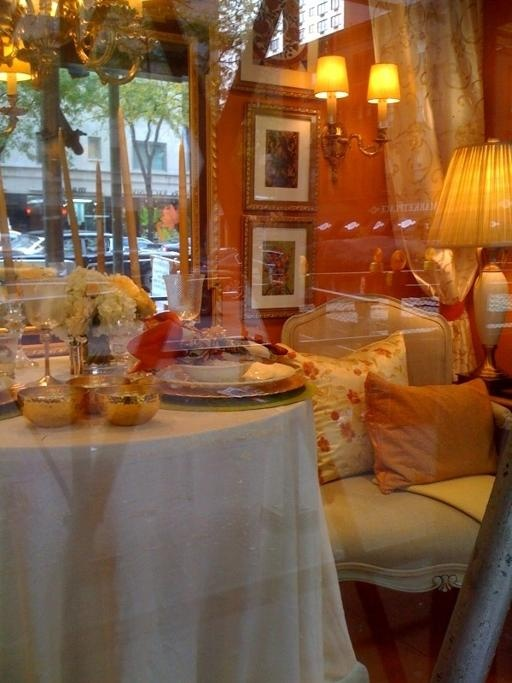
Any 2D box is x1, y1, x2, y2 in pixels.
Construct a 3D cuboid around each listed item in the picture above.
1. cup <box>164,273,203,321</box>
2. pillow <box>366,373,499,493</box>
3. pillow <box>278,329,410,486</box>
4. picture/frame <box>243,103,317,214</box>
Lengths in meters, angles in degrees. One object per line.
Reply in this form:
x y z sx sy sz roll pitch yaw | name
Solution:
-0.053 -0.033 0.421 0.030 0.032 0.024 -4 2 9 | cup
0.188 0.091 0.599 0.154 0.111 0.051 -1 5 -17 | pillow
0.113 0.082 0.701 0.190 0.169 0.071 -5 5 -28 | pillow
0.019 -0.132 0.412 0.057 0.071 0.005 11 26 23 | picture/frame
